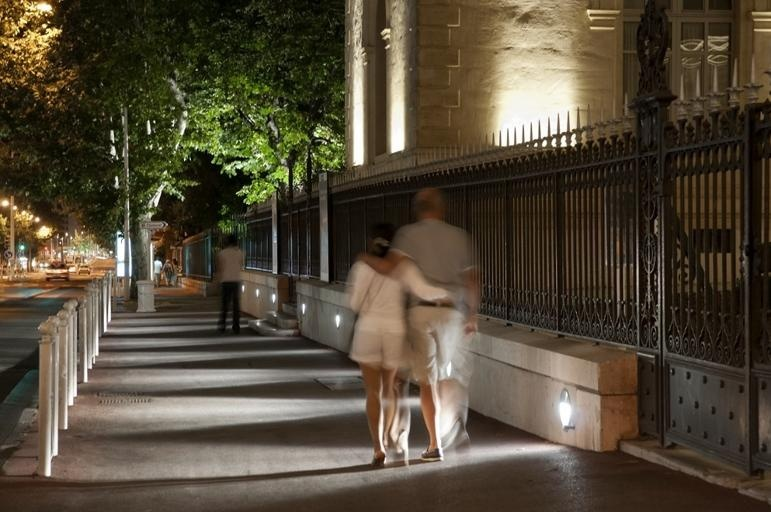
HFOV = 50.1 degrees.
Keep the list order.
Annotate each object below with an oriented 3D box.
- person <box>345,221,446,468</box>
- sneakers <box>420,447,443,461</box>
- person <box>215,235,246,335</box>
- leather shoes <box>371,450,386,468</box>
[{"bbox_3d":[0.034,0.949,8.736,0.823,2.410,0.615,-1,5,-9],"label":"person"},{"bbox_3d":[0.499,2.087,8.722,0.229,0.121,0.109,2,4,25],"label":"sneakers"},{"bbox_3d":[-4.167,0.754,22.167,0.672,2.630,0.935,-1,5,-11],"label":"person"},{"bbox_3d":[-0.058,2.110,8.554,0.126,0.138,0.113,-1,5,-1],"label":"leather shoes"}]
